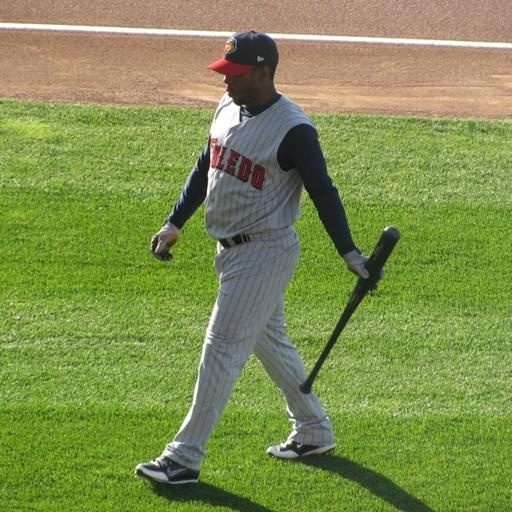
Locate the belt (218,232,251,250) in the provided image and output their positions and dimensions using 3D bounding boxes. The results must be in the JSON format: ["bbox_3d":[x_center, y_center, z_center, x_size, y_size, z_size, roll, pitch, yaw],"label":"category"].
[{"bbox_3d":[-0.164,-0.120,9.580,0.156,0.058,0.122,-19,-1,-7],"label":"belt"}]

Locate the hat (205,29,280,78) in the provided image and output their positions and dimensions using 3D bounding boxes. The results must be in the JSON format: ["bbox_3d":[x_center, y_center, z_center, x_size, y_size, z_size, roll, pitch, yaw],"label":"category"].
[{"bbox_3d":[-0.111,-1.558,9.631,0.549,0.308,0.380,-6,13,-15],"label":"hat"}]

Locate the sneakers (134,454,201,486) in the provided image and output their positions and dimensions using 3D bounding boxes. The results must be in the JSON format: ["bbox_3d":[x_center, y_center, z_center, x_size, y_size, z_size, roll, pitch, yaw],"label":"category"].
[{"bbox_3d":[-0.674,1.630,9.750,0.523,0.285,0.201,12,-1,-14],"label":"sneakers"}]

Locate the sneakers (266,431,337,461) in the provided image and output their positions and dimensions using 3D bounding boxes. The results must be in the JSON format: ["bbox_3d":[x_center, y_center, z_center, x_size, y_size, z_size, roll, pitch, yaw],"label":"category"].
[{"bbox_3d":[0.349,1.458,9.893,0.558,0.274,0.200,1,-1,1],"label":"sneakers"}]

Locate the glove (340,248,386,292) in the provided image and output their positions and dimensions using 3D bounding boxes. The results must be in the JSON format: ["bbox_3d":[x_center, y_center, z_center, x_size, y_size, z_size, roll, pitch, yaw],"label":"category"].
[{"bbox_3d":[0.771,0.099,9.426,0.309,0.264,0.113,12,9,4],"label":"glove"}]
